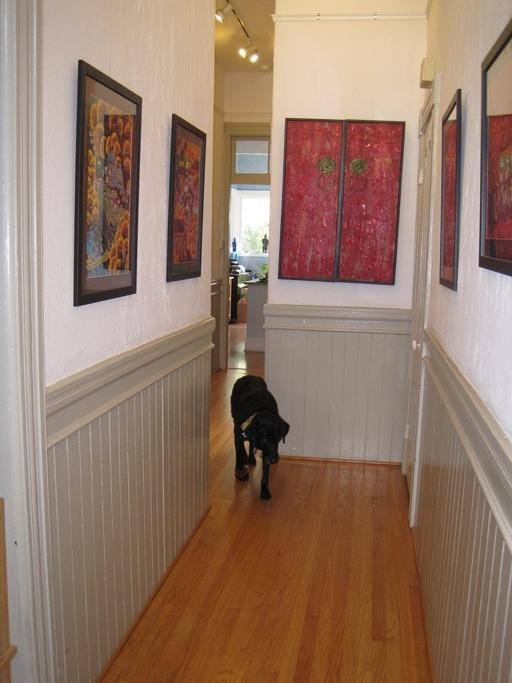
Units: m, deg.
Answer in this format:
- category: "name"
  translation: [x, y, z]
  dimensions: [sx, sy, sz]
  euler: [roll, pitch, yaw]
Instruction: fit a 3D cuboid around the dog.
- category: "dog"
  translation: [-0.009, 0.640, 3.343]
  dimensions: [0.173, 0.614, 0.815]
  euler: [1, 19, -15]
